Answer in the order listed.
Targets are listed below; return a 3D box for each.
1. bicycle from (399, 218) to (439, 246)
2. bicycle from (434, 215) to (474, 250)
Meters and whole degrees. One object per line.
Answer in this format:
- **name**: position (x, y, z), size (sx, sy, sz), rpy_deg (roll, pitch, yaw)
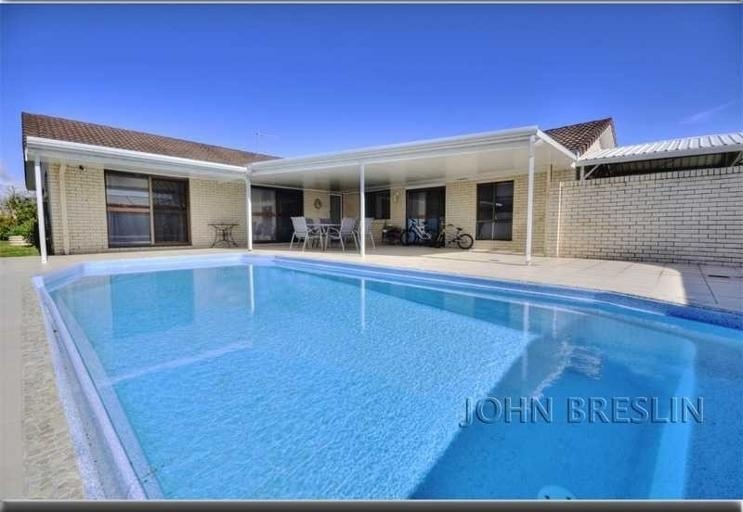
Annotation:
- **bicycle**: position (1.517, -0.729, 14.377), size (1.312, 0.762, 0.644), rpy_deg (8, 13, 28)
- **bicycle**: position (2.446, -0.548, 13.328), size (1.095, 0.641, 0.682), rpy_deg (18, 31, 32)
